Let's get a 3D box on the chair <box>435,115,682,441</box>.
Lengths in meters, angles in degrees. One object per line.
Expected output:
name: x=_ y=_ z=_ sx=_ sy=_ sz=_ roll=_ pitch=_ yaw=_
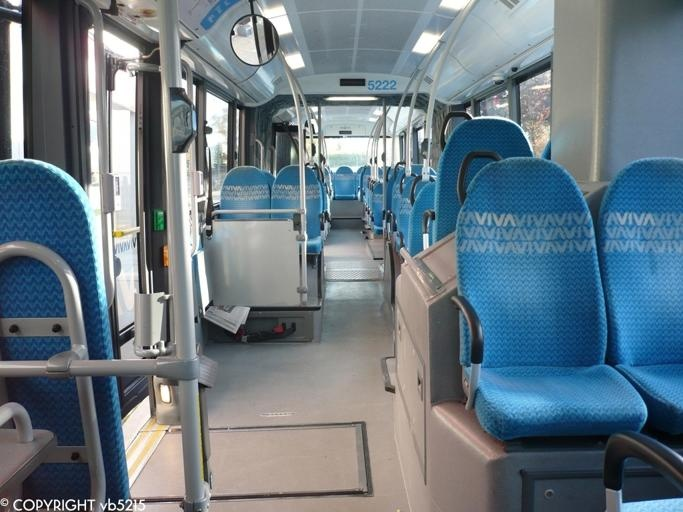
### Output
chair: x=0.901 y=0.071 z=2.402 sx=0.784 sy=1.081 sz=1.303 roll=0 pitch=11 yaw=5

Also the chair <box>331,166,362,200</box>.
chair: x=0.107 y=-2.357 z=16.797 sx=0.997 sy=0.966 sz=0.918 roll=3 pitch=12 yaw=17
